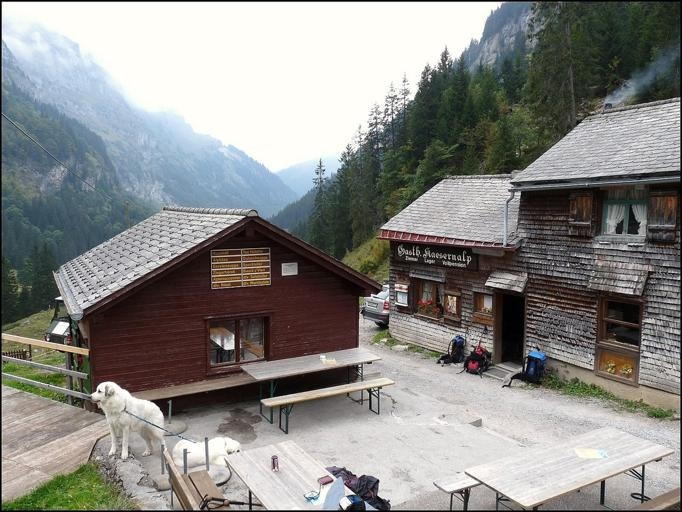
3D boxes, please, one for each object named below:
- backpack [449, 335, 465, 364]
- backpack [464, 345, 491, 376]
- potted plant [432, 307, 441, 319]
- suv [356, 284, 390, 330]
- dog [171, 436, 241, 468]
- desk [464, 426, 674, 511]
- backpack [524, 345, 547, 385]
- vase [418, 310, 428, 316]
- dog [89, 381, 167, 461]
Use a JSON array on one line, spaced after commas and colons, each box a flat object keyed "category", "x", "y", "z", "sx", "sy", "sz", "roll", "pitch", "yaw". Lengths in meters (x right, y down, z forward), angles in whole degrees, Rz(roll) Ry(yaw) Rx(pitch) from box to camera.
[{"category": "backpack", "x": 4.483, "y": 3.559, "z": 18.579, "sx": 0.598, "sy": 0.990, "sz": 0.404, "roll": 2, "pitch": 4, "yaw": -2}, {"category": "backpack", "x": 4.942, "y": 3.782, "z": 17.589, "sx": 0.723, "sy": 1.020, "sz": 0.430, "roll": 8, "pitch": -10, "yaw": 37}, {"category": "potted plant", "x": 3.920, "y": 2.315, "z": 19.876, "sx": 0.231, "sy": 0.439, "sz": 0.521, "roll": -1, "pitch": 4, "yaw": -38}, {"category": "suv", "x": 1.798, "y": 2.589, "z": 24.072, "sx": 1.163, "sy": 1.061, "sz": 2.437, "roll": 6, "pitch": 9, "yaw": 37}, {"category": "dog", "x": -3.135, "y": 4.513, "z": 11.300, "sx": 1.120, "sy": 0.407, "sz": 0.863, "roll": 2, "pitch": -6, "yaw": -21}, {"category": "desk", "x": 4.502, "y": 4.143, "z": 9.716, "sx": 4.007, "sy": 0.460, "sz": 1.326, "roll": 0, "pitch": 3, "yaw": -24}, {"category": "backpack", "x": 6.527, "y": 3.731, "z": 16.374, "sx": 0.654, "sy": 1.028, "sz": 0.355, "roll": 3, "pitch": 4, "yaw": 20}, {"category": "vase", "x": 3.433, "y": 2.331, "z": 20.413, "sx": 0.086, "sy": 0.261, "sz": 0.458, "roll": -1, "pitch": 4, "yaw": -38}, {"category": "dog", "x": -4.646, "y": 3.678, "z": 10.723, "sx": 0.782, "sy": 1.905, "sz": 1.282, "roll": 5, "pitch": 5, "yaw": 40}]
